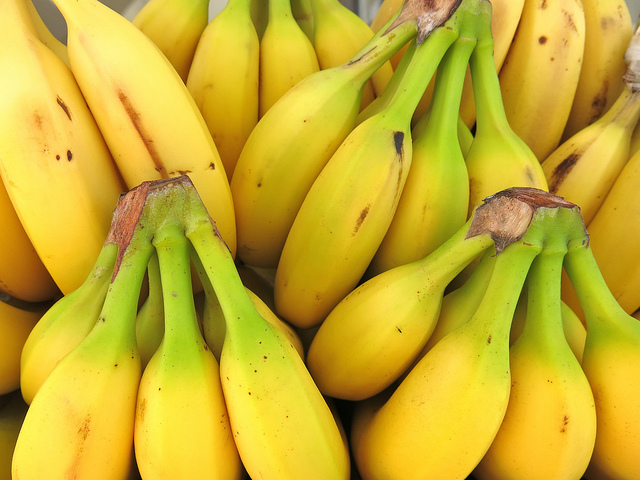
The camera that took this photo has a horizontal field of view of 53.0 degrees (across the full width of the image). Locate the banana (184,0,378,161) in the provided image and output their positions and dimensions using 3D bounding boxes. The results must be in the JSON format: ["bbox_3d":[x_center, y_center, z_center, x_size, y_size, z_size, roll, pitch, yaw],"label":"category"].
[{"bbox_3d":[-0.062,-0.223,0.924,0.194,0.233,0.062,-3,-11,-15],"label":"banana"}]

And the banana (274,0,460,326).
[{"bbox_3d":[0.063,-0.086,0.846,0.092,0.471,0.101,28,4,-17],"label":"banana"}]

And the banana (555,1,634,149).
[{"bbox_3d":[0.424,-0.261,0.990,0.054,0.225,0.072,24,24,16],"label":"banana"}]

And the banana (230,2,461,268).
[{"bbox_3d":[0.032,-0.130,0.866,0.108,0.422,0.086,44,-2,41],"label":"banana"}]

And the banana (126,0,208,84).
[{"bbox_3d":[-0.217,-0.282,0.917,0.056,0.170,0.045,-34,29,-7],"label":"banana"}]

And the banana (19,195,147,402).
[{"bbox_3d":[-0.276,0.069,0.764,0.058,0.251,0.062,19,-6,7],"label":"banana"}]

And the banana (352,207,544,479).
[{"bbox_3d":[0.172,0.142,0.751,0.202,0.334,0.121,-13,32,-31],"label":"banana"}]

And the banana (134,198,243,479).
[{"bbox_3d":[-0.155,0.140,0.770,0.092,0.364,0.089,-5,-4,31],"label":"banana"}]

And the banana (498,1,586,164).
[{"bbox_3d":[0.333,-0.251,1.003,0.072,0.321,0.097,5,21,7],"label":"banana"}]
